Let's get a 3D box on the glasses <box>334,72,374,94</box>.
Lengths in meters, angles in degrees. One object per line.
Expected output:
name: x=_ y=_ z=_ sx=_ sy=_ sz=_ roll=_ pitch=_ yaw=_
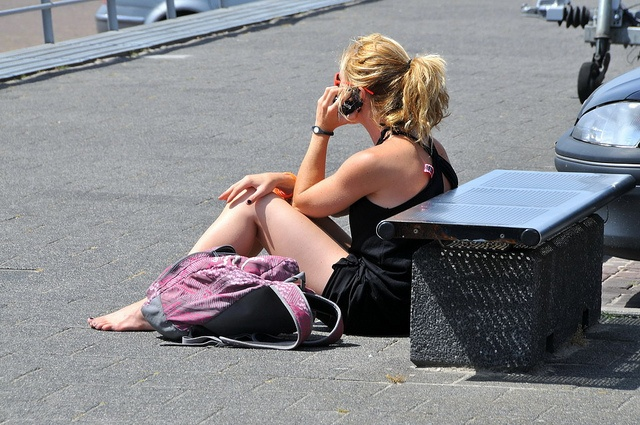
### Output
glasses: x=0.230 y=-0.895 z=6.955 sx=0.276 sy=0.067 sz=0.213 roll=10 pitch=-1 yaw=-3

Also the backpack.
backpack: x=-0.562 y=0.530 z=6.624 sx=1.046 sy=0.370 sz=0.715 roll=2 pitch=-4 yaw=15

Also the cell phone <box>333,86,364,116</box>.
cell phone: x=0.204 y=-0.733 z=6.837 sx=0.155 sy=0.186 sz=0.126 roll=36 pitch=4 yaw=1

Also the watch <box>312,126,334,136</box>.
watch: x=0.010 y=-0.571 z=7.064 sx=0.091 sy=0.079 sz=0.088 roll=-10 pitch=-27 yaw=39
